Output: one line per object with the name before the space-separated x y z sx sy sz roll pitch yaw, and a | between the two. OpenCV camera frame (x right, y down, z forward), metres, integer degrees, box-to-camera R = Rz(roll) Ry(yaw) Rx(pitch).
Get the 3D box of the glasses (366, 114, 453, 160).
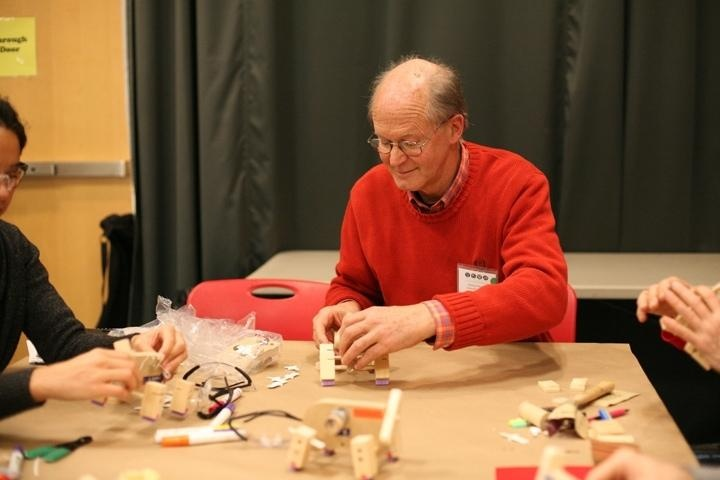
glasses | 0.185 -0.372 2.230 0.238 0.129 0.079 0 4 13
